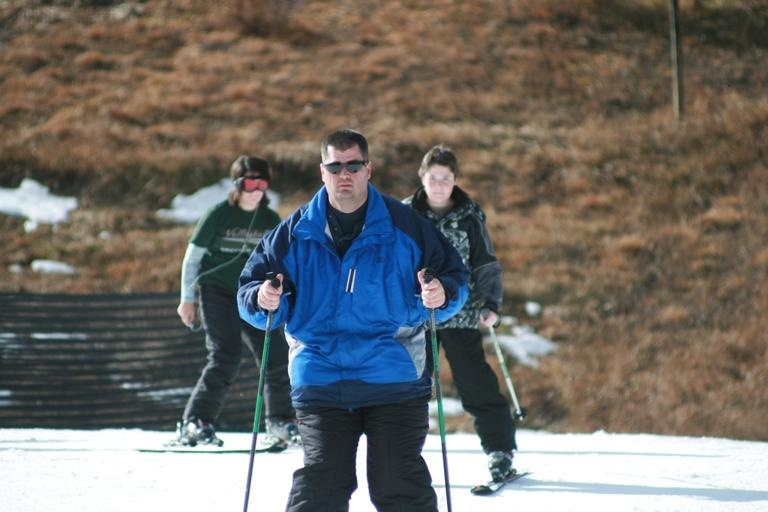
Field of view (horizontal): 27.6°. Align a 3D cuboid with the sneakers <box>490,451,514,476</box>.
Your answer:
[{"bbox_3d":[1.321,2.375,17.735,0.245,0.285,0.294,-5,-24,7],"label":"sneakers"}]

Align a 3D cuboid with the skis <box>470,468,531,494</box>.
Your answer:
[{"bbox_3d":[1.310,2.569,17.768,0.206,0.151,0.874,35,22,27],"label":"skis"}]
